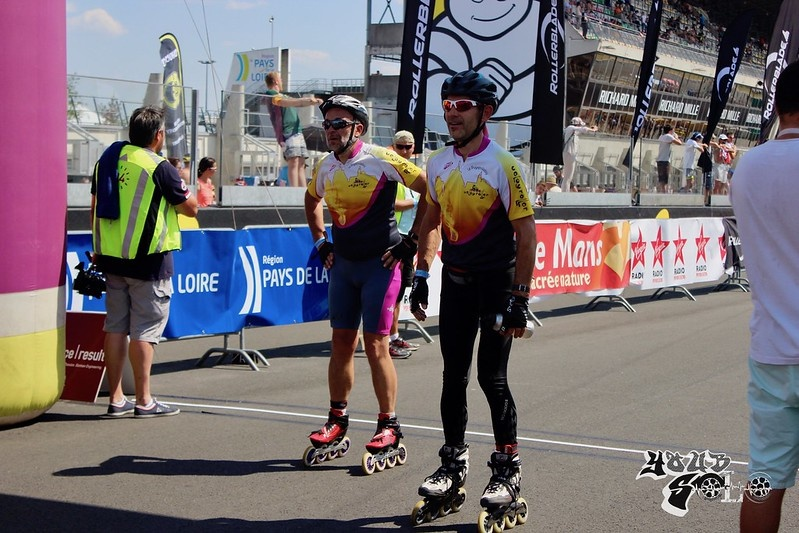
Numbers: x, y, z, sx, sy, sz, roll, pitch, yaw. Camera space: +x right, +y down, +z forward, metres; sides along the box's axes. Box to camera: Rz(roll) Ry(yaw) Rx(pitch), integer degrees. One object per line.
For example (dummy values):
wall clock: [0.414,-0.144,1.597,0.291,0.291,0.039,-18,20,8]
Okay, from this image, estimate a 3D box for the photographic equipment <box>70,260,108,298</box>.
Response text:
photographic equipment: [-2.987,0.133,7.914,0.338,0.376,0.287,9,11,-13]

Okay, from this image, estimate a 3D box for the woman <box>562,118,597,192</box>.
woman: [5.003,-3.237,23.167,0.667,2.078,4.056,2,8,13]

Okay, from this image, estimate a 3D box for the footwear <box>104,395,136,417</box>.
footwear: [-2.653,1.337,7.755,0.118,0.157,0.345,1,4,15]

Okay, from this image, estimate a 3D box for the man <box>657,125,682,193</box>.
man: [7.903,-3.187,24.015,0.613,2.012,2.229,3,8,18]

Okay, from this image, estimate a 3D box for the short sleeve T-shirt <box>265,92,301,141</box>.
short sleeve T-shirt: [-2.126,-2.798,14.933,0.504,0.979,0.944,-14,4,-6]

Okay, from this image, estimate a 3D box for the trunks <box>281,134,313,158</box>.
trunks: [-1.954,-2.219,15.080,0.359,0.589,0.574,2,1,17]

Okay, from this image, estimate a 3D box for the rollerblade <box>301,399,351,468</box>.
rollerblade: [-0.628,1.462,7.020,0.115,0.374,0.449,-4,3,40]

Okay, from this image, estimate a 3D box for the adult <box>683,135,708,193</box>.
adult: [8.991,-3.192,24.851,0.606,1.841,3.121,3,8,19]

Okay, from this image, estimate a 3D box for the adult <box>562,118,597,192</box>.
adult: [4.952,-3.203,22.941,0.668,2.078,3.587,2,8,12]

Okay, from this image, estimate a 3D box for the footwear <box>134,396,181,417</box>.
footwear: [-2.312,1.328,7.798,0.431,0.195,0.166,1,-2,-17]

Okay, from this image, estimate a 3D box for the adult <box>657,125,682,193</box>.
adult: [7.890,-3.183,23.989,0.582,2.012,2.288,3,8,17]

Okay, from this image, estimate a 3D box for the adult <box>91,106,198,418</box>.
adult: [-2.482,-0.076,7.875,1.067,2.940,0.983,-1,-5,12]

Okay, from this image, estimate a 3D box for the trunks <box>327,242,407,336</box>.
trunks: [-0.267,0.231,7.135,0.878,0.954,0.541,1,-7,22]

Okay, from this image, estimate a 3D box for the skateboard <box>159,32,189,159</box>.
skateboard: [-4.136,-3.048,14.940,0.077,2.683,0.447,34,45,30]

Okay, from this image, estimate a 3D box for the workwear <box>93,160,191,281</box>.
workwear: [-2.438,-0.441,7.574,1.024,1.253,0.616,6,6,19]

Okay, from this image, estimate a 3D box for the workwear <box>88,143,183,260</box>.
workwear: [-2.465,-0.644,7.746,0.854,1.044,0.545,10,8,20]

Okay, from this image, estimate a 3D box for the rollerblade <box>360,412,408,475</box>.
rollerblade: [-0.129,1.503,6.806,0.111,0.313,0.392,-14,-4,42]

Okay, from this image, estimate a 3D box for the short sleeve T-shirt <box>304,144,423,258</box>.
short sleeve T-shirt: [-0.371,-0.579,7.168,1.173,1.088,0.516,-5,4,30]
